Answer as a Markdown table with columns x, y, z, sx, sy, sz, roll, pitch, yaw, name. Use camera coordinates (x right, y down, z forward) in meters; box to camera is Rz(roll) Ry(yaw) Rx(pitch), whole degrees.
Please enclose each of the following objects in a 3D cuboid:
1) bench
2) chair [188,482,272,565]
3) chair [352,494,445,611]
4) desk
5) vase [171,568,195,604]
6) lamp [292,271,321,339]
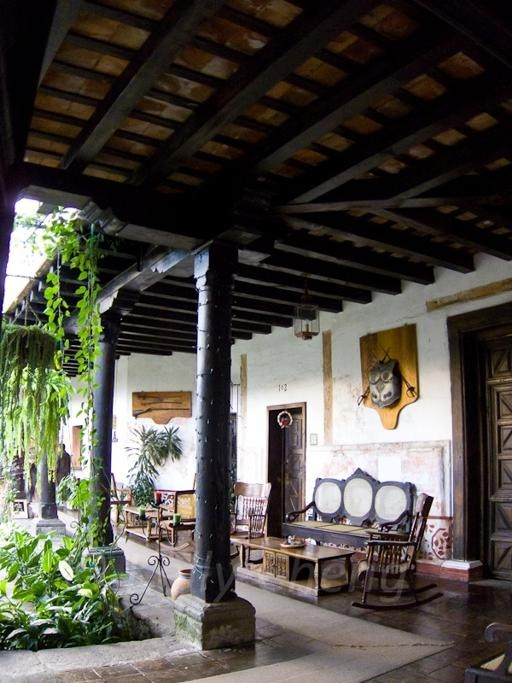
| x | y | z | sx | sy | sz | roll | pitch | yaw | name |
| --- | --- | --- | --- | --- | --- | --- | --- | --- | --- |
| 1.066 | 2.145 | 6.606 | 0.652 | 0.979 | 1.731 | 11 | -16 | -32 | bench |
| -0.209 | 2.666 | 7.835 | 0.752 | 0.954 | 0.760 | -19 | -34 | 27 | chair |
| 1.292 | 2.010 | 5.190 | 1.020 | 0.997 | 0.769 | 5 | -13 | -16 | chair |
| 0.476 | 2.419 | 5.863 | 0.928 | 0.409 | 1.577 | 7 | -15 | -26 | desk |
| -0.584 | 1.911 | 4.195 | 0.135 | 0.200 | 0.280 | 3 | -14 | -9 | vase |
| 0.603 | -0.383 | 6.411 | 0.335 | 0.798 | 0.329 | -9 | -20 | 30 | lamp |
